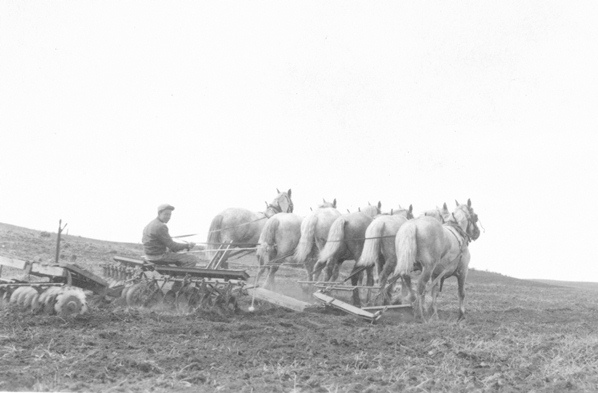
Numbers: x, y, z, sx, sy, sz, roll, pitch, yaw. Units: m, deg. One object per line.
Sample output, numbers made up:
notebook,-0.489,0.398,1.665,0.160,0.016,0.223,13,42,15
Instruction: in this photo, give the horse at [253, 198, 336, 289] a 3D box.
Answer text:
horse,-0.047,1.734,19.390,1.204,3.420,4.501,7,2,36

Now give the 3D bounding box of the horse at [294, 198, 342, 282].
horse,0.734,1.492,19.355,1.175,3.075,4.493,11,6,15

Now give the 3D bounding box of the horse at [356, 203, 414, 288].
horse,3.109,1.516,17.501,1.110,2.852,4.142,1,4,28

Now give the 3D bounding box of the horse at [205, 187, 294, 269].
horse,-1.800,1.318,19.661,1.350,3.542,4.595,-2,-2,43

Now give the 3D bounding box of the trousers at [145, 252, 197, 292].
trousers,-4.060,2.136,14.508,1.803,0.513,1.227,0,9,3
